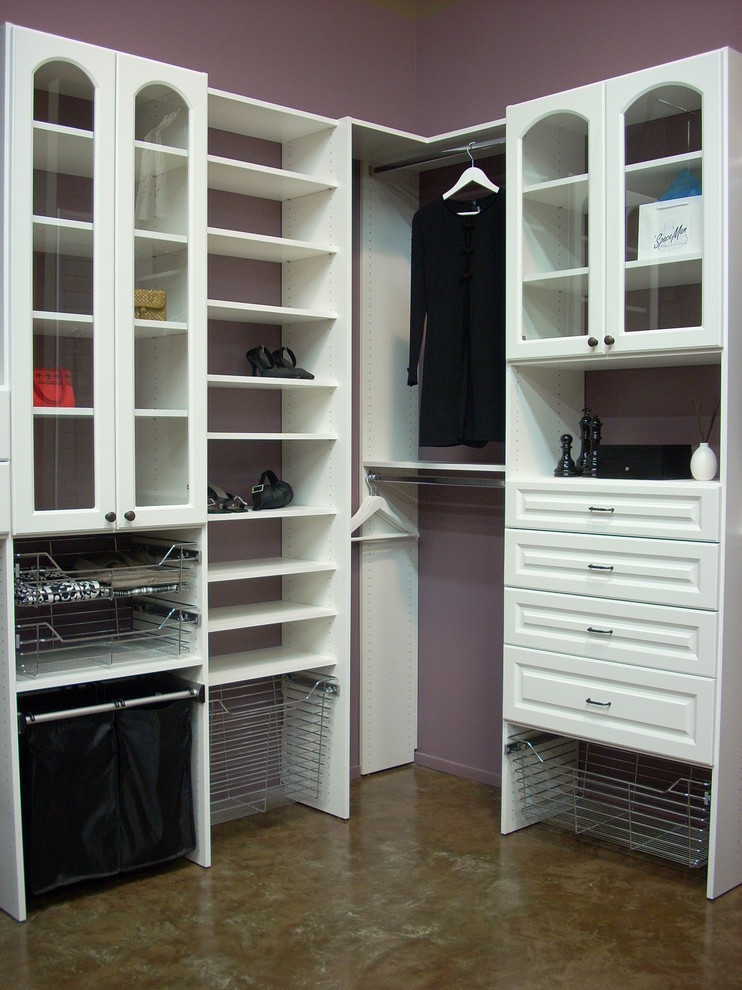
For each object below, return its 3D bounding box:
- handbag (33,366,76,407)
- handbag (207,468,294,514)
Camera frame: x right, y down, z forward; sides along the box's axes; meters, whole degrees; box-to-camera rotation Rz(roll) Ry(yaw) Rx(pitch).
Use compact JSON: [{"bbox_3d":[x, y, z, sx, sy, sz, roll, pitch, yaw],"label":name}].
[{"bbox_3d":[-0.782,-0.264,2.026,0.024,0.096,0.102,4,6,38],"label":"handbag"},{"bbox_3d":[-0.391,-0.012,2.715,0.211,0.096,0.141,-2,4,-13],"label":"handbag"}]
